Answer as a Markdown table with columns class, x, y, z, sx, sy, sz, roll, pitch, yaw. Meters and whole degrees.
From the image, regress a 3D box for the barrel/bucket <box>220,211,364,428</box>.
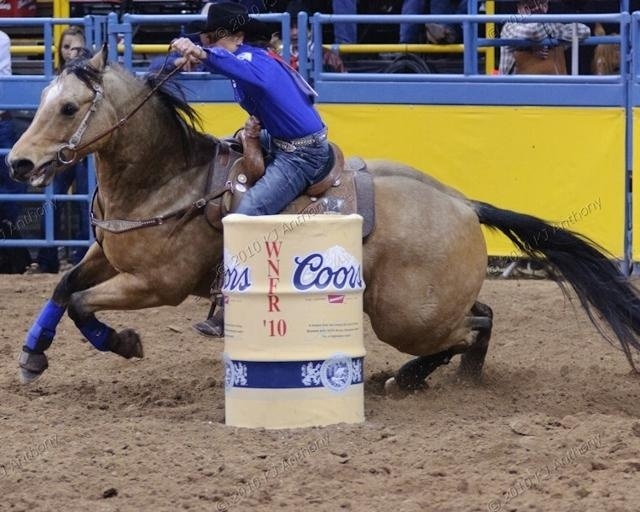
| class | x | y | z | sx | sy | sz | roll | pitch | yaw |
| --- | --- | --- | --- | --- | --- | --- | --- | --- | --- |
| barrel/bucket | -0.165 | 0.432 | 8.945 | 0.923 | 1.373 | 0.470 | -1 | 15 | -2 |
